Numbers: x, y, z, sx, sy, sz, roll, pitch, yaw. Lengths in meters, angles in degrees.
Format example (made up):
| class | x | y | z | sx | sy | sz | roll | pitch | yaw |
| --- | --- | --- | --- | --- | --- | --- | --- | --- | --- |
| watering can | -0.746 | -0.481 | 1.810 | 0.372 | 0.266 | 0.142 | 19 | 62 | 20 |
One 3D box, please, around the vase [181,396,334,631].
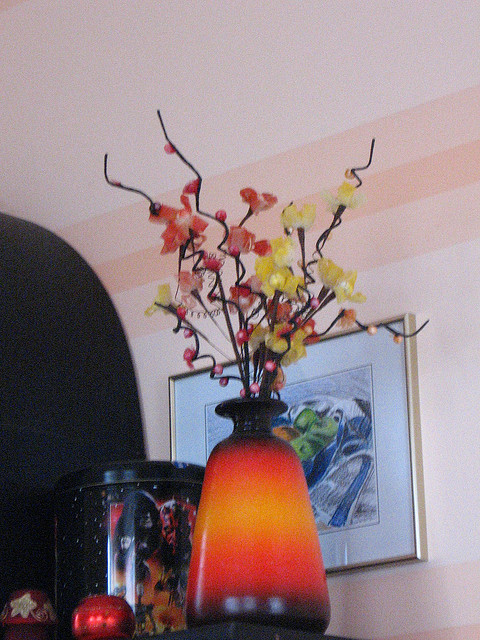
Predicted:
| class | x | y | z | sx | sy | sz | roll | pitch | yaw |
| --- | --- | --- | --- | --- | --- | --- | --- | --- | --- |
| vase | 0.011 | 0.190 | 0.794 | 0.128 | 0.228 | 0.102 | -10 | -14 | 26 |
